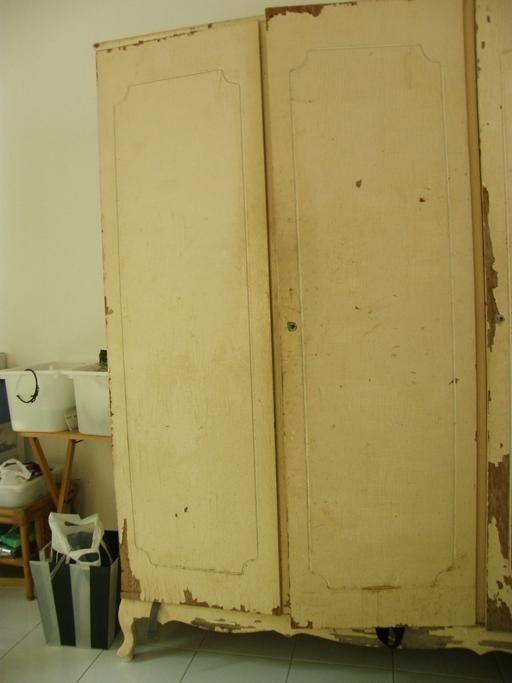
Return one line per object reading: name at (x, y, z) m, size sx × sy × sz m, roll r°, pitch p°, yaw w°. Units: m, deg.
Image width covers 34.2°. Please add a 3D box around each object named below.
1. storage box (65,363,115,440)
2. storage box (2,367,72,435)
storage box at (-0.618, 0.164, 2.984) m, size 0.137 × 0.135 × 0.151 m, roll 11°, pitch 17°, yaw 37°
storage box at (-0.810, 0.208, 3.092) m, size 0.228 × 0.203 × 0.234 m, roll -1°, pitch 3°, yaw 13°
